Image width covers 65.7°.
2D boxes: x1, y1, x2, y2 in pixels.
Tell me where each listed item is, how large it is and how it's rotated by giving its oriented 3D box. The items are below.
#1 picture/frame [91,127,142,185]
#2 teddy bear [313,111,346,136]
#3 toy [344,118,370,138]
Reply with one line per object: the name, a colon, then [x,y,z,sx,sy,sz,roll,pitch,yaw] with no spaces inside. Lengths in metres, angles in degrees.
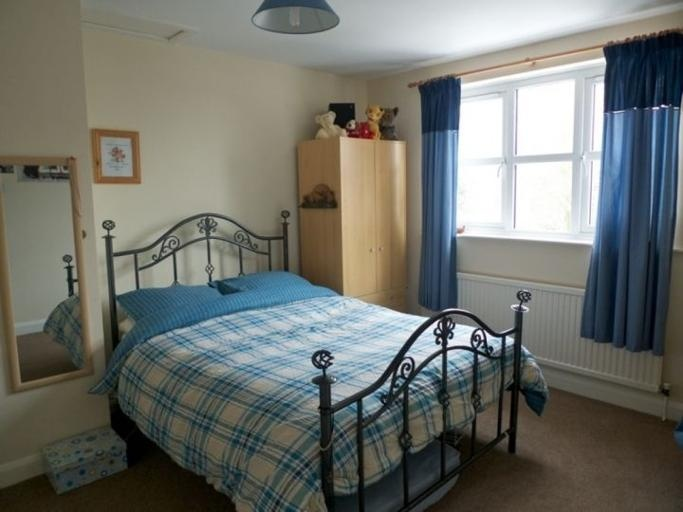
picture/frame: [-1.712,-0.769,4.021,0.447,0.609,0.041,-7,8,-40]
teddy bear: [-0.080,-1.191,4.785,0.291,0.253,0.271,-6,11,-23]
toy: [0.158,-1.149,4.779,0.237,0.177,0.250,-1,10,2]
